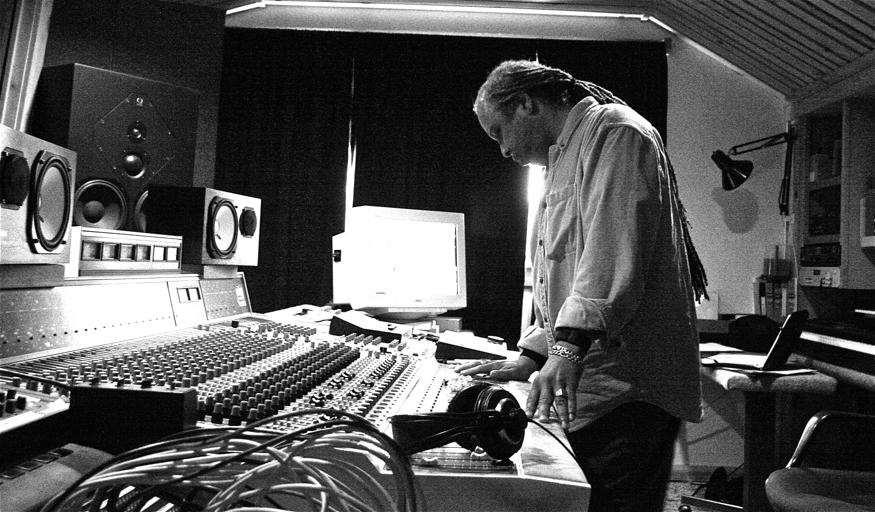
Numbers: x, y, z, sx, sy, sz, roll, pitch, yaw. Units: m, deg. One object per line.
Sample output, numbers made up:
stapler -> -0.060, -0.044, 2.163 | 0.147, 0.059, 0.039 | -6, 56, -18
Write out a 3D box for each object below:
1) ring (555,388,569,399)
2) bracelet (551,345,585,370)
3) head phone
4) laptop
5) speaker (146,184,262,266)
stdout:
ring -> 0.433, 0.483, 2.237 | 0.030, 0.033, 0.050 | -23, 5, -15
bracelet -> 0.466, 0.358, 2.294 | 0.105, 0.033, 0.083 | 18, 3, -14
head phone -> 0.060, 0.567, 2.146 | 0.485, 0.206, 0.371 | 7, -18, -29
laptop -> 1.946, 0.442, 3.946 | 0.570, 0.311, 0.564 | 1, -3, 37
speaker -> -1.259, -0.152, 3.418 | 0.398, 0.348, 0.619 | 3, 0, 6
